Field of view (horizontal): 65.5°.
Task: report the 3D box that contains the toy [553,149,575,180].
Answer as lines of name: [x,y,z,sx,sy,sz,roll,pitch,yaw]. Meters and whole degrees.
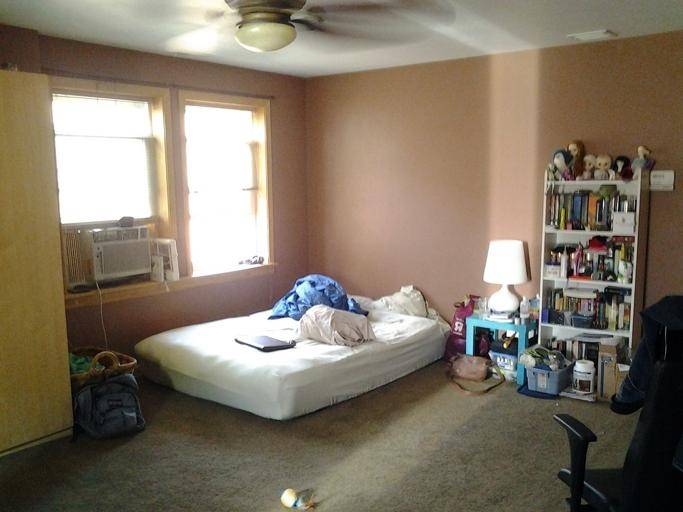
toy: [1.980,-0.810,4.694,0.159,0.301,0.236,-2,6,-8]

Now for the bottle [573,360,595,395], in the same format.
bottle: [2.061,1.010,4.453,0.183,0.247,0.199,-1,14,0]

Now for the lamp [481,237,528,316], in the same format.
lamp: [1.566,0.199,4.991,0.447,0.674,0.372,-3,14,-7]

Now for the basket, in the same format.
basket: [-1.864,1.046,4.110,0.459,0.373,0.682,3,-3,-38]

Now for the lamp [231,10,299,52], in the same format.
lamp: [-0.534,-1.562,3.694,0.419,0.220,0.206,0,14,3]

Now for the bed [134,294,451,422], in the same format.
bed: [-0.384,0.926,4.694,2.722,0.489,1.404,-6,15,-20]

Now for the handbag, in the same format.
handbag: [-1.736,1.167,3.993,0.279,0.460,0.471,1,0,41]

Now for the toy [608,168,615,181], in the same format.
toy: [2.303,-0.680,4.485,0.051,0.082,0.102,6,16,25]

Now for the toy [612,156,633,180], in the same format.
toy: [2.399,-0.740,4.498,0.177,0.239,0.091,12,-11,37]

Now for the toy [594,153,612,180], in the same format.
toy: [2.275,-0.772,4.587,0.129,0.210,0.188,6,16,25]

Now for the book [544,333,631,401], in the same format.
book: [2.170,0.904,4.584,0.565,0.457,0.607,1,14,4]

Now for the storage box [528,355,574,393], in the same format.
storage box: [1.817,1.031,4.555,0.206,0.171,0.328,-1,-1,41]

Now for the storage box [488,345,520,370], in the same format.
storage box: [1.490,0.926,4.854,0.253,0.181,0.192,6,20,41]
